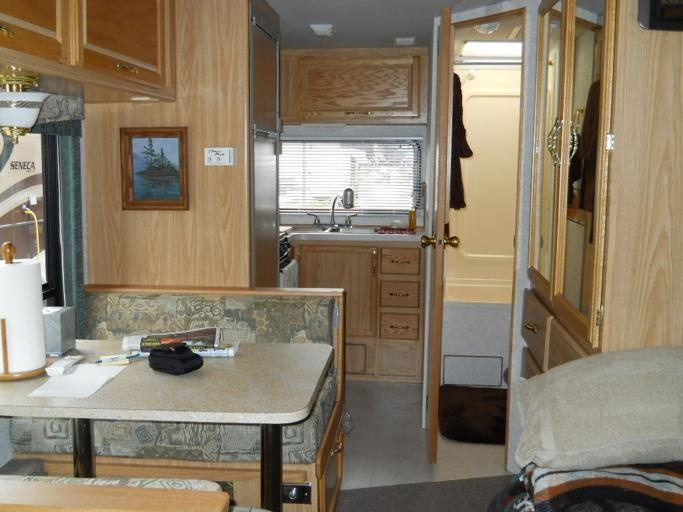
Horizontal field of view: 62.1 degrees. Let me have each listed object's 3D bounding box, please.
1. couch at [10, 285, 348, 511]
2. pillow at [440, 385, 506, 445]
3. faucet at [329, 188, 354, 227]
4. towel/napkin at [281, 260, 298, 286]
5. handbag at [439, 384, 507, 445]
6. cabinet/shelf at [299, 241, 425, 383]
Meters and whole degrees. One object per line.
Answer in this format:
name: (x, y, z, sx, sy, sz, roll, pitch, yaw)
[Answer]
couch: (-0.589, 0.531, 2.076, 1.241, 0.705, 0.644, 0, 5, 7)
pillow: (0.860, 1.061, 3.741, 0.449, 0.416, 0.102, 2, -26, 12)
faucet: (0.009, -0.452, 5.193, 0.277, 0.344, 0.199, -5, 11, -24)
towel/napkin: (-0.375, 0.123, 4.042, 0.045, 0.105, 0.202, 1, 8, 10)
handbag: (0.846, 1.039, 3.662, 0.403, 0.081, 0.343, 0, 14, 15)
cabinet/shelf: (0.209, 0.391, 3.827, 1.277, 1.038, 0.459, 0, 2, 6)
